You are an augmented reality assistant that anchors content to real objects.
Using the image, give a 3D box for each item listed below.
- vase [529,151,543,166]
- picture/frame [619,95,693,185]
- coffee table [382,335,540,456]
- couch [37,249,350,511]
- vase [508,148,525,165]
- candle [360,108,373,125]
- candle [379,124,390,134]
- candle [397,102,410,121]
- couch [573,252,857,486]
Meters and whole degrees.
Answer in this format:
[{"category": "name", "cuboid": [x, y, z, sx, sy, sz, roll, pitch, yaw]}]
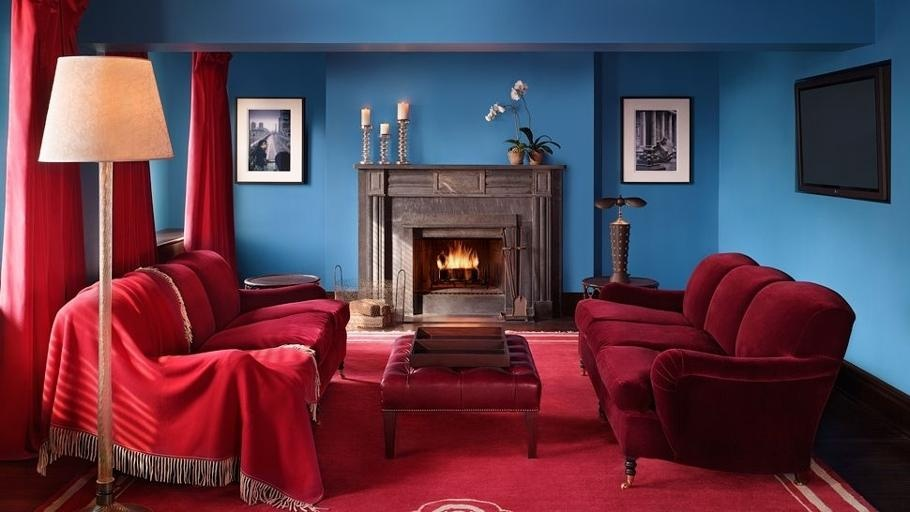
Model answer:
[{"category": "vase", "cuboid": [1.029, -1.234, 8.447, 0.178, 0.133, 0.180, 2, 8, 10]}, {"category": "picture/frame", "cuboid": [2.688, -1.596, 8.888, 1.263, 1.422, 0.060, 0, 0, -2]}, {"category": "coffee table", "cuboid": [0.085, 1.110, 5.543, 1.008, 0.485, 0.976, 0, 3, 0]}, {"category": "couch", "cuboid": [-2.031, 0.961, 5.315, 1.820, 1.113, 2.697, 2, 6, -4]}, {"category": "vase", "cuboid": [0.774, -1.254, 8.501, 0.207, 0.142, 0.201, 0, -2, 6]}, {"category": "candle", "cuboid": [-1.122, -1.777, 8.522, 0.128, 0.259, 0.189, -1, 7, -7]}, {"category": "candle", "cuboid": [-0.895, -1.599, 8.475, 0.150, 0.158, 0.145, 1, -1, -14]}, {"category": "candle", "cuboid": [-0.648, -1.841, 8.472, 0.161, 0.274, 0.236, -1, 7, -5]}, {"category": "couch", "cuboid": [2.036, 0.856, 5.636, 1.709, 1.595, 1.652, 0, 7, 1]}]
